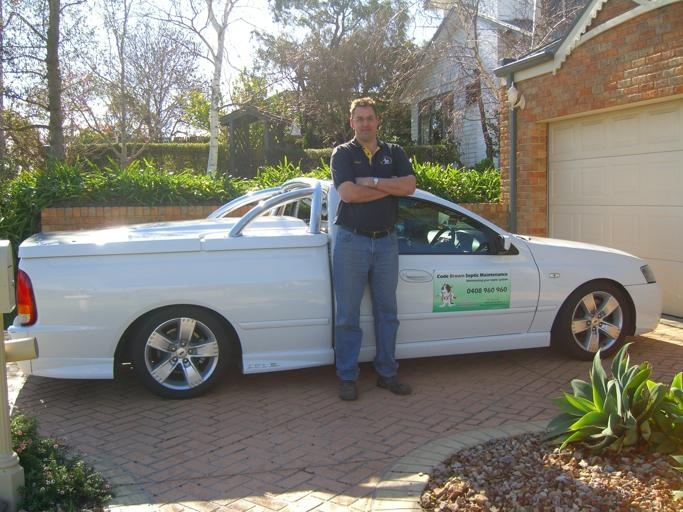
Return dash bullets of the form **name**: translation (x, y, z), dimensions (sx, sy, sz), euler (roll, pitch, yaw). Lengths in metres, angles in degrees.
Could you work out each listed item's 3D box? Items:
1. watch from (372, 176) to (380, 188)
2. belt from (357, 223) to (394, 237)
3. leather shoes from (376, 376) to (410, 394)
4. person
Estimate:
- **watch**: translation (0.306, -0.684, 4.435), dimensions (0.046, 0.079, 0.073), euler (2, 4, -1)
- **belt**: translation (0.322, -0.225, 4.588), dimensions (0.398, 0.102, 0.080), euler (-4, 3, -25)
- **leather shoes**: translation (0.505, 1.237, 4.769), dimensions (0.311, 0.141, 0.131), euler (7, 22, 37)
- **person**: translation (0.283, -0.084, 4.651), dimensions (0.770, 2.817, 0.422), euler (-3, 2, -10)
